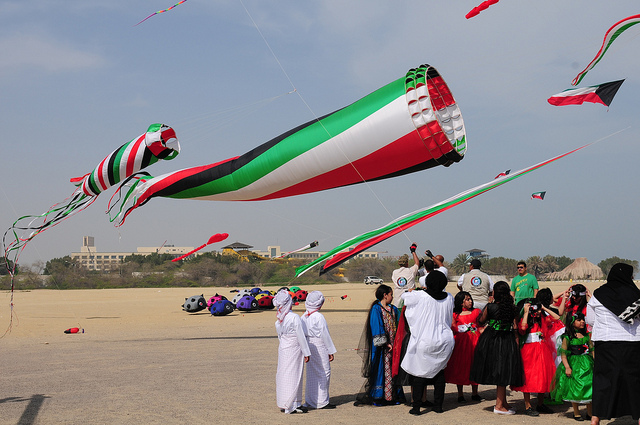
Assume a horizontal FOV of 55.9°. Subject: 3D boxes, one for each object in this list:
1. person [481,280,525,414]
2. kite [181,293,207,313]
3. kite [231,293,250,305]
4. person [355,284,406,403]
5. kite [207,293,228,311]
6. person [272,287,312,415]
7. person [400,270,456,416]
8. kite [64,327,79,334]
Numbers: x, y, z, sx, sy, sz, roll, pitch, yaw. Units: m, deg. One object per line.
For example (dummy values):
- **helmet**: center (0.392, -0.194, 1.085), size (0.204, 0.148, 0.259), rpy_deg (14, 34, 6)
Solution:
- **person**: center (3.669, 2.729, 12.209), size (0.724, 2.642, 0.650), rpy_deg (-8, -14, 43)
- **kite**: center (-5.834, 4.183, 27.626), size (0.877, 0.703, 0.699), rpy_deg (-15, -9, 12)
- **kite**: center (-3.760, 4.055, 28.273), size (0.769, 0.592, 1.001), rpy_deg (4, -11, -10)
- **person**: center (1.251, 2.787, 12.783), size (0.906, 2.435, 0.665), rpy_deg (1, -10, 3)
- **kite**: center (-4.695, 4.093, 27.045), size (0.744, 0.676, 0.824), rpy_deg (5, -11, -16)
- **person**: center (-0.606, 2.910, 12.597), size (0.824, 2.475, 0.476), rpy_deg (2, -10, -3)
- **person**: center (2.184, 2.666, 12.324), size (1.041, 2.886, 0.565), rpy_deg (0, -11, 10)
- **kite**: center (-8.847, 4.206, 21.336), size (0.454, 0.204, 0.710), rpy_deg (7, -12, -25)
